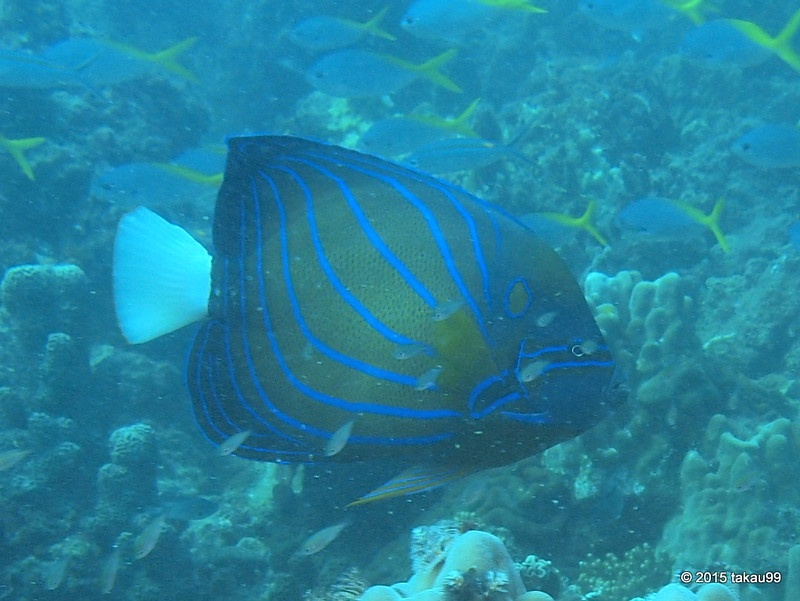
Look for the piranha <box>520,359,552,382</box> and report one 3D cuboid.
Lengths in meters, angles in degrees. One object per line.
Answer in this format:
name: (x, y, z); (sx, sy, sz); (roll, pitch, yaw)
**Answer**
piranha: (1.154, 0.605, 8.402); (0.279, 0.134, 0.109); (-28, 47, -15)
